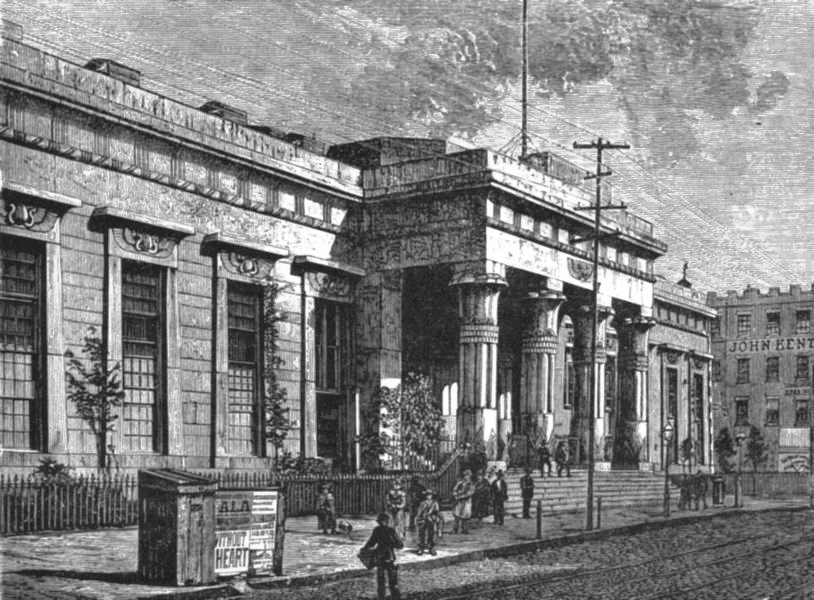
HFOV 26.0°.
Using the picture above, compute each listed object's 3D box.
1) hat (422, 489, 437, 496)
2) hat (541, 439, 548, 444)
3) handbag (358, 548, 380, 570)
[{"bbox_3d":[0.705,6.576,59.348,0.375,0.388,0.696,1,-9,-6],"label":"hat"},{"bbox_3d":[5.774,6.091,74.179,0.242,0.272,0.508,-2,-13,4],"label":"hat"},{"bbox_3d":[-1.121,7.524,50.590,0.514,0.659,0.554,5,-11,7],"label":"handbag"}]
